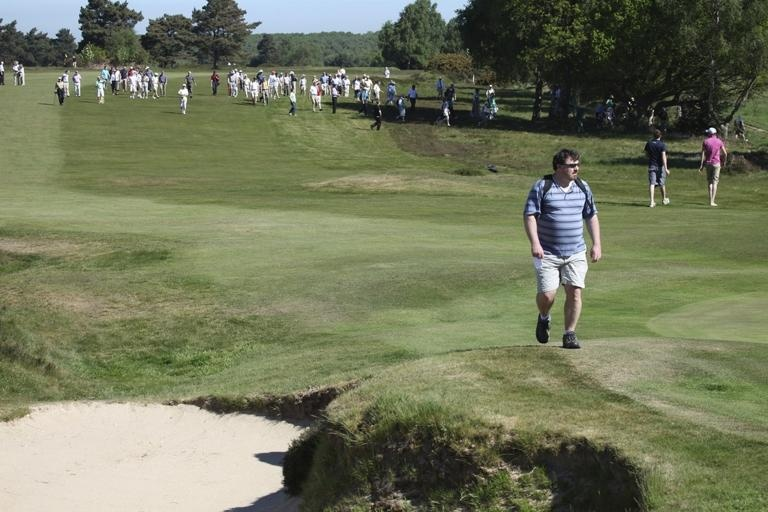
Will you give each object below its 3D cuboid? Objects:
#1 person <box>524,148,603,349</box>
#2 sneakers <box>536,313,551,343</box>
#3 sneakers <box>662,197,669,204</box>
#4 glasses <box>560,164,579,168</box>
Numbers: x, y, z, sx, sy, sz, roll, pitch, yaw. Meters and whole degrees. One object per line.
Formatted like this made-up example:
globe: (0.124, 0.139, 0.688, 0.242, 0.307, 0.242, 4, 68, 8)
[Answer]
person: (3.677, -0.142, 21.960, 1.534, 4.136, 0.801, 1, 12, 6)
sneakers: (3.358, 1.525, 22.338, 0.265, 0.273, 0.639, 5, 49, 4)
sneakers: (10.410, -2.044, 39.284, 0.230, 0.245, 0.618, 0, 11, 26)
glasses: (3.847, -1.866, 21.732, 0.326, 0.115, 0.102, -3, 12, -14)
